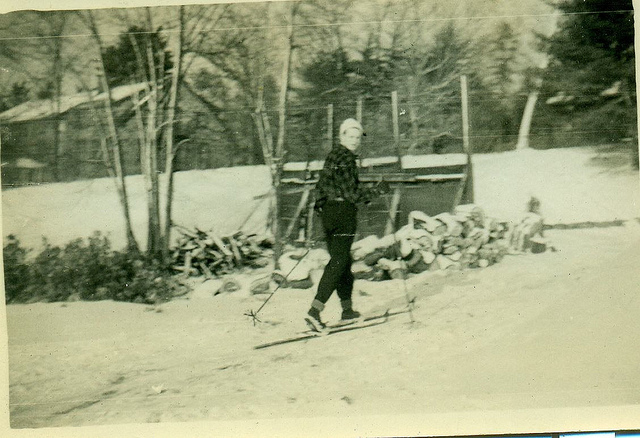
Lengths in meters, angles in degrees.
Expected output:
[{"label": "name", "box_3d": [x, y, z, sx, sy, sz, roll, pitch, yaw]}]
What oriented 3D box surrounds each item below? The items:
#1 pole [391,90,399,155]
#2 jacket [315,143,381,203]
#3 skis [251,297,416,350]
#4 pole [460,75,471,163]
[{"label": "pole", "box_3d": [0.842, -1.072, 8.110, 0.074, 0.700, 0.081, -4, 5, 5]}, {"label": "jacket", "box_3d": [0.249, -0.489, 8.152, 0.616, 0.591, 0.767, -6, 15, -39]}, {"label": "skis", "box_3d": [0.219, 1.151, 7.975, 2.511, 0.269, 0.129, -10, -1, 0]}, {"label": "pole", "box_3d": [1.619, -1.120, 8.135, 0.078, 0.972, 0.102, -3, 5, 14]}]
